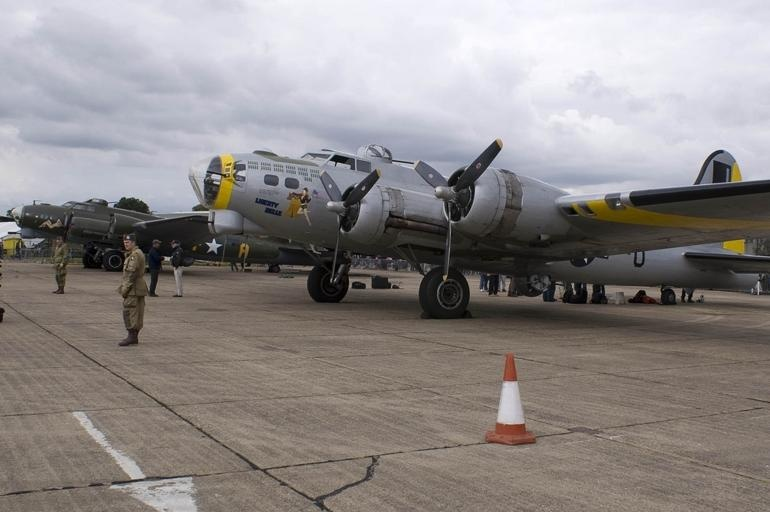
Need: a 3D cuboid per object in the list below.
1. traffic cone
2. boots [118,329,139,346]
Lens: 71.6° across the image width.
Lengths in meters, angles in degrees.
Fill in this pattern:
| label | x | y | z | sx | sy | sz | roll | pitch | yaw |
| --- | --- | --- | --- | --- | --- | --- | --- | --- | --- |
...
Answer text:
| label | x | y | z | sx | sy | sz | roll | pitch | yaw |
| --- | --- | --- | --- | --- | --- | --- | --- | --- | --- |
| traffic cone | 1.501 | 1.602 | 6.146 | 0.561 | 0.980 | 0.517 | 4 | 0 | 12 |
| boots | -5.036 | 1.564 | 10.450 | 0.348 | 0.317 | 0.349 | 4 | 0 | -19 |
